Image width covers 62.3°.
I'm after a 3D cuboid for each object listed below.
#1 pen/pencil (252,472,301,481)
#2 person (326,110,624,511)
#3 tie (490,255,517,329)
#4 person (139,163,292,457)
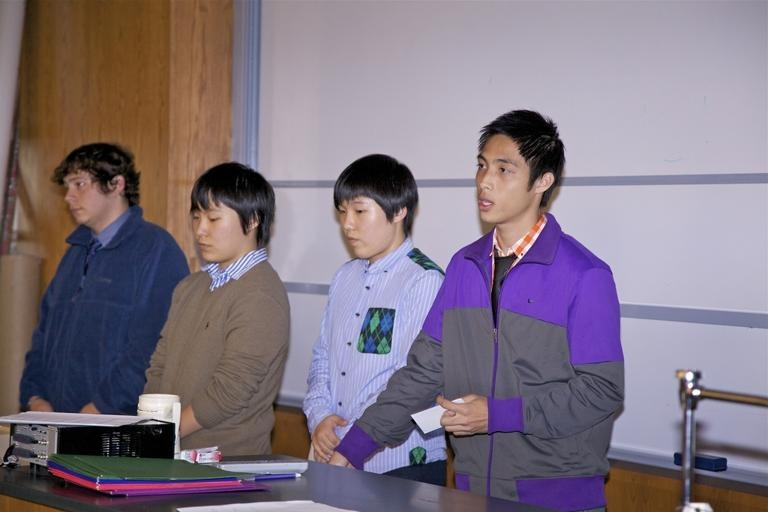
[{"bbox_3d":[-0.367,0.735,2.120,0.195,0.027,0.027,1,-23,-15],"label":"pen/pencil"},{"bbox_3d":[0.437,0.169,2.436,0.991,1.469,0.519,7,8,-2],"label":"person"},{"bbox_3d":[0.466,0.131,2.519,0.087,0.230,0.167,10,-11,-10],"label":"tie"},{"bbox_3d":[-0.697,0.218,2.651,0.606,1.198,0.573,7,8,-4],"label":"person"}]
